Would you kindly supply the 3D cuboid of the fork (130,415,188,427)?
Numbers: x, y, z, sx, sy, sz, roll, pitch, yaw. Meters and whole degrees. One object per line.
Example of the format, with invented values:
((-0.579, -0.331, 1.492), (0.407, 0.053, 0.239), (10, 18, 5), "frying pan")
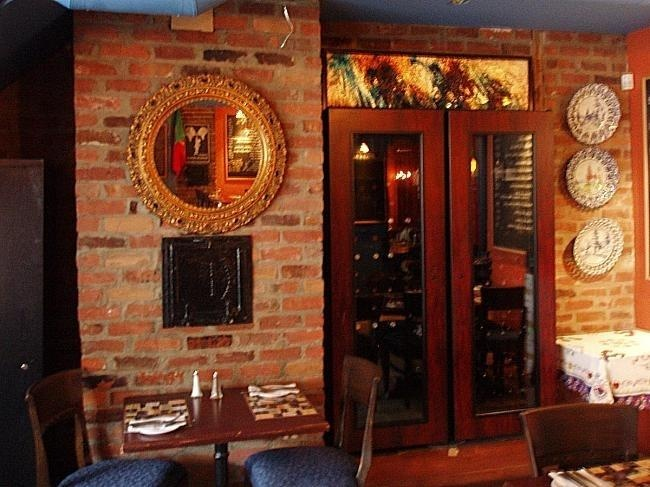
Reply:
((-0.834, 0.887, 2.908), (0.294, 0.040, 0.079), (-3, 3, 0), "fork")

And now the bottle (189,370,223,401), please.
((-0.682, 0.815, 3.303), (0.171, 0.112, 0.071), (0, -4, 0), "bottle")

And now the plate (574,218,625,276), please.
((2.111, 0.021, 4.516), (0.481, 0.447, 0.045), (-9, 15, -10), "plate")

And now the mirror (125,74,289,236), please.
((-0.729, -0.523, 3.371), (1.193, 0.949, 0.072), (-1, 0, -12), "mirror")

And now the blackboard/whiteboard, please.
((1.311, -0.354, 4.047), (0.292, 0.803, 0.159), (-1, 10, -6), "blackboard/whiteboard")

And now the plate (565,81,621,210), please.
((2.077, -0.748, 4.484), (0.491, 0.956, 0.165), (-1, 10, -10), "plate")
